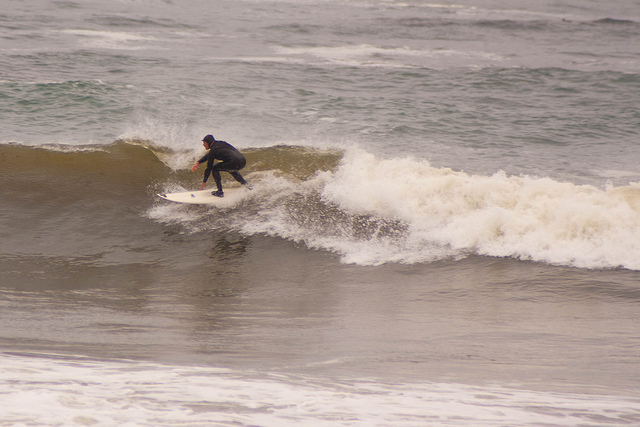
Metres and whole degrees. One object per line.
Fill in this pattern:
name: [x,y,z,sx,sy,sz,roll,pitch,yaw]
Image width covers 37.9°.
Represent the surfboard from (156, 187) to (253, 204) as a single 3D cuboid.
surfboard: [-4.420,-0.621,35.321,4.919,0.329,0.714,-3,40,-6]
